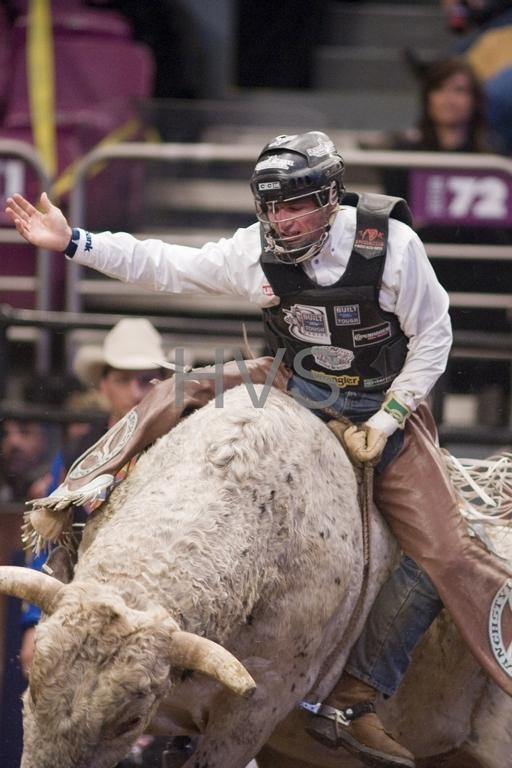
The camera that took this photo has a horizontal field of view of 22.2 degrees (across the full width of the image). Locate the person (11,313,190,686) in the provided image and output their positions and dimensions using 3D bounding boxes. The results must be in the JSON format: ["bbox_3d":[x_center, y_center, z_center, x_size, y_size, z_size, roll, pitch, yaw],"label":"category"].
[{"bbox_3d":[-0.504,0.375,4.319,0.427,0.824,1.355,10,76,-1],"label":"person"}]

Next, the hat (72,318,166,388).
[{"bbox_3d":[-0.474,-0.148,4.893,0.404,0.390,0.139,1,62,-4],"label":"hat"}]

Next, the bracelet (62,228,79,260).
[{"bbox_3d":[-0.590,-0.445,4.201,0.036,0.079,0.065,7,9,10],"label":"bracelet"}]

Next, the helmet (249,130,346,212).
[{"bbox_3d":[0.153,-0.662,4.140,0.261,0.226,0.306,-4,6,34],"label":"helmet"}]

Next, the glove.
[{"bbox_3d":[0.442,0.159,4.263,0.265,0.098,0.170,-36,59,-9],"label":"glove"}]
